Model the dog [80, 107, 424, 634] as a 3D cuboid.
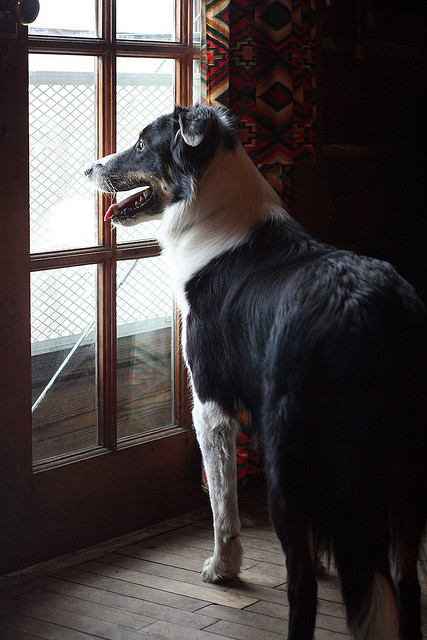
[{"bbox_3d":[0.125,0.119,1.217,0.333,1.227,0.695,0,0,-40],"label":"dog"}]
